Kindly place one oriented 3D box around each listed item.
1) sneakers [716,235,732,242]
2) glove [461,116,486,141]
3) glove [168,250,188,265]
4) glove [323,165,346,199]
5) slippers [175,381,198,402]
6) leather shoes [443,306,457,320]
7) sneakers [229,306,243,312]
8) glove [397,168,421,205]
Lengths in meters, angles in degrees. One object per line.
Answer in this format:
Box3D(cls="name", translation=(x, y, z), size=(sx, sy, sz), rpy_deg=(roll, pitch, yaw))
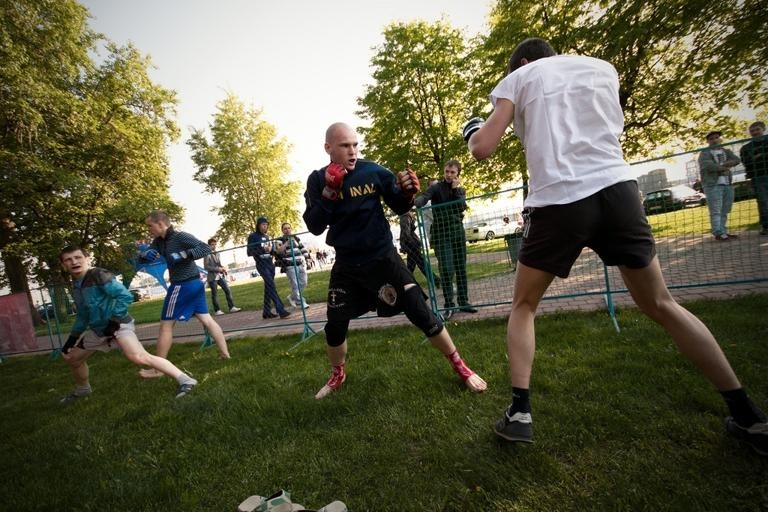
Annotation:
Box3D(cls="sneakers", translation=(5.887, -0.314, 7.440), size=(0.107, 0.114, 0.285), rpy_deg=(-4, -6, 16))
Box3D(cls="glove", translation=(0.898, -1.301, 4.385), size=(0.222, 0.281, 0.250), rpy_deg=(-11, 45, 6))
Box3D(cls="glove", translation=(-3.327, 0.026, 6.886), size=(0.260, 0.153, 0.076), rpy_deg=(-27, -30, -14))
Box3D(cls="glove", translation=(-0.542, -0.864, 4.933), size=(0.288, 0.348, 0.165), rpy_deg=(9, 21, 27))
Box3D(cls="slippers", translation=(-2.784, 1.869, 6.001), size=(0.284, 0.124, 0.346), rpy_deg=(-12, 5, -22))
Box3D(cls="leather shoes", translation=(1.191, 1.054, 7.733), size=(0.124, 0.162, 0.400), rpy_deg=(-8, -17, 16))
Box3D(cls="sneakers", translation=(-4.623, 1.657, 13.298), size=(0.364, 0.149, 0.121), rpy_deg=(-15, -5, 10))
Box3D(cls="glove", translation=(0.284, -0.837, 4.963), size=(0.168, 0.347, 0.273), rpy_deg=(1, 18, 15))
